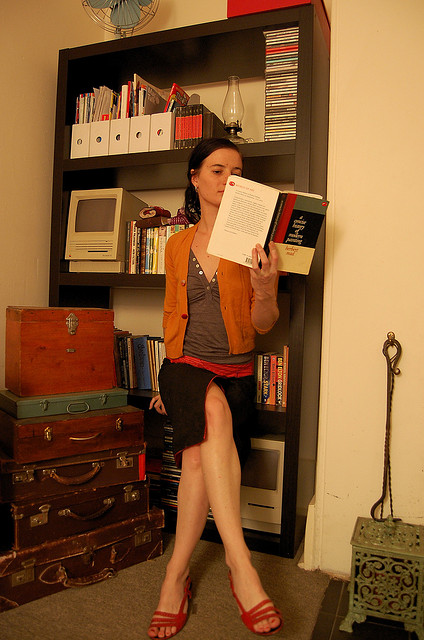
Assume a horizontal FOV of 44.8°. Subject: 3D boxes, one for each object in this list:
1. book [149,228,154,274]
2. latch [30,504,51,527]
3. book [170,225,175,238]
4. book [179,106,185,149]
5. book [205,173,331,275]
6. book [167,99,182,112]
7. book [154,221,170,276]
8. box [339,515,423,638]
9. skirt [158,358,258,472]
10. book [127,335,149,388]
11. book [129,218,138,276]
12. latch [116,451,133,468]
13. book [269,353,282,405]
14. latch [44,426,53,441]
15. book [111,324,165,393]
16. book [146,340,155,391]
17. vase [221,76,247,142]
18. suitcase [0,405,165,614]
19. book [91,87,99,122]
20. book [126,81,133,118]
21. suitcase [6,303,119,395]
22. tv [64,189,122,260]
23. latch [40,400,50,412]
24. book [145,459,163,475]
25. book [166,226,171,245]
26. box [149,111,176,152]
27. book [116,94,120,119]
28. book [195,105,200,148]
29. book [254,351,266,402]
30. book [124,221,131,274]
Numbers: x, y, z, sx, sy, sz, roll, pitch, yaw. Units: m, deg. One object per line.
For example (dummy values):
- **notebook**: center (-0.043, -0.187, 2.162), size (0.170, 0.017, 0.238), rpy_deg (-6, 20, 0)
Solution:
- **book**: center (-0.238, -0.268, 2.041), size (0.026, 0.199, 0.170), rpy_deg (2, 3, -9)
- **latch**: center (-0.460, 0.530, 1.385), size (0.039, 0.062, 0.061), rpy_deg (0, -3, 26)
- **book**: center (-0.153, -0.353, 2.019), size (0.018, 0.045, 0.056), rpy_deg (2, -2, -3)
- **book**: center (-0.108, -0.713, 1.918), size (0.027, 0.119, 0.116), rpy_deg (7, -3, -2)
- **book**: center (0.149, -0.258, 1.277), size (0.323, 0.246, 0.080), rpy_deg (14, 20, -19)
- **book**: center (-0.140, -0.823, 1.983), size (0.011, 0.044, 0.046), rpy_deg (34, 15, 26)
- **book**: center (-0.199, -0.306, 2.099), size (0.070, 0.185, 0.193), rpy_deg (-5, 17, -14)
- **box**: center (0.436, 0.644, 1.306), size (0.188, 0.241, 0.185), rpy_deg (1, -2, 23)
- **skirt**: center (-0.012, 0.229, 1.414), size (0.252, 0.350, 0.121), rpy_deg (4, -4, -35)
- **book**: center (-0.333, 0.198, 2.184), size (0.120, 0.190, 0.218), rpy_deg (-3, -10, -4)
- **book**: center (-0.305, -0.283, 2.036), size (0.031, 0.229, 0.117), rpy_deg (2, -2, -11)
- **latch**: center (-0.269, 0.430, 1.594), size (0.050, 0.051, 0.042), rpy_deg (3, -13, -22)
- **book**: center (0.229, 0.216, 1.824), size (0.052, 0.146, 0.151), rpy_deg (0, -6, 13)
- **latch**: center (-0.447, 0.314, 1.420), size (0.011, 0.039, 0.025), rpy_deg (0, -2, 39)
- **book**: center (-0.273, 0.162, 2.116), size (0.263, 0.254, 0.135), rpy_deg (0, 7, 10)
- **book**: center (-0.240, 0.185, 2.063), size (0.037, 0.195, 0.021), rpy_deg (3, -2, -28)
- **vase**: center (0.083, -0.773, 1.901), size (0.078, 0.299, 0.161), rpy_deg (2, -2, 2)
- **suitcase**: center (-0.466, 0.423, 1.603), size (0.403, 0.520, 0.582), rpy_deg (-1, -1, 42)
- **book**: center (-0.469, -0.889, 2.096), size (0.028, 0.090, 0.067), rpy_deg (2, 13, -10)
- **book**: center (-0.320, -0.862, 2.028), size (0.020, 0.150, 0.041), rpy_deg (3, -2, -36)
- **suitcase**: center (-0.444, 0.086, 1.618), size (0.229, 0.336, 0.387), rpy_deg (-6, -6, 44)
- **tv**: center (-0.475, -0.386, 2.169), size (0.211, 0.307, 0.181), rpy_deg (-2, -8, 8)
- **latch**: center (-0.476, 0.244, 1.470), size (0.020, 0.028, 0.028), rpy_deg (-1, 4, -4)
- **book**: center (-0.225, 0.575, 2.017), size (0.077, 0.020, 0.084), rpy_deg (1, 2, -3)
- **book**: center (-0.166, -0.339, 1.991), size (0.016, 0.054, 0.058), rpy_deg (2, -2, -6)
- **box**: center (-0.179, -0.700, 1.968), size (0.100, 0.139, 0.077), rpy_deg (-1, -4, 21)
- **book**: center (-0.379, -0.862, 2.086), size (0.009, 0.112, 0.039), rpy_deg (2, -2, -15)
- **book**: center (-0.052, -0.708, 1.882), size (0.027, 0.148, 0.012), rpy_deg (0, -2, 37)
- **book**: center (0.173, 0.209, 1.832), size (0.045, 0.140, 0.145), rpy_deg (0, -8, 11)
- **book**: center (-0.342, -0.295, 2.095), size (0.013, 0.211, 0.037), rpy_deg (3, -2, -37)
